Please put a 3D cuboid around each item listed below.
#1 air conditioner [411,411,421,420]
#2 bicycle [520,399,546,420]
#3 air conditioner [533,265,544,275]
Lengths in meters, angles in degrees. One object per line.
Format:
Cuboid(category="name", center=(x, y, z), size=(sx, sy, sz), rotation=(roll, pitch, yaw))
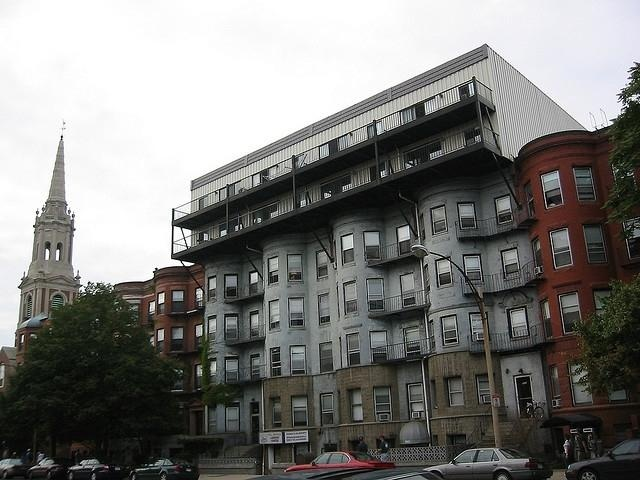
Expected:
Cuboid(category="air conditioner", center=(6.591, 11.948, 54.225), size=(0.572, 0.512, 0.510), rotation=(-6, -26, 18))
Cuboid(category="bicycle", center=(13.452, 10.614, 49.864), size=(1.529, 0.949, 0.826), rotation=(-13, -23, 5))
Cuboid(category="air conditioner", center=(13.883, 1.925, 50.343), size=(0.498, 0.465, 0.387), rotation=(35, -27, -31))
